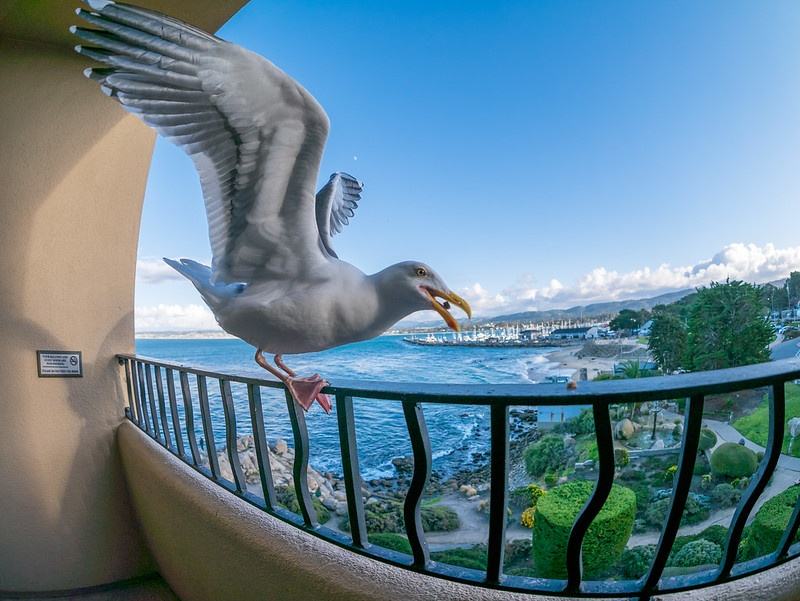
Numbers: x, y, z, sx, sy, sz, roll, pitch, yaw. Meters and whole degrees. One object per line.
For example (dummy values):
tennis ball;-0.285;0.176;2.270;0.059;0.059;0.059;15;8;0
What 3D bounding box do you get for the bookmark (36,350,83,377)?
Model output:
bookmark;-2.493;0.468;3.450;0.282;0.154;0.034;1;-1;-32
